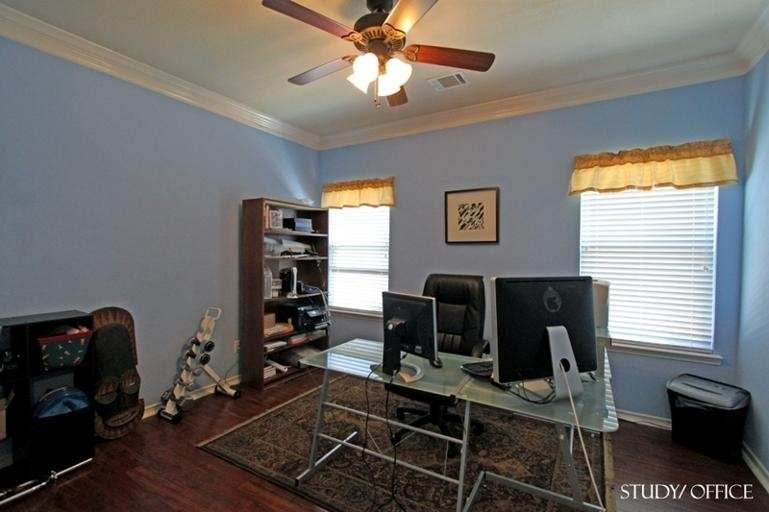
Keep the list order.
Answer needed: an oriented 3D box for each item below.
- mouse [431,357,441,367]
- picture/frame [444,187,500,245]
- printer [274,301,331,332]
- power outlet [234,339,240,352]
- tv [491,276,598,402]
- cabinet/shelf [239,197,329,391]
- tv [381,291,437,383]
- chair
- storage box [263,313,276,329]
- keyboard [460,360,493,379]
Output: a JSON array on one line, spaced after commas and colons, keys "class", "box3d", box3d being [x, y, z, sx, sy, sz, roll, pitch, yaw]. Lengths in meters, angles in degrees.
[{"class": "mouse", "box3d": [0.420, 0.860, 3.992, 0.068, 0.079, 0.119, 0, -11, -1]}, {"class": "picture/frame", "box3d": [0.978, -0.440, 5.540, 0.615, 0.626, 0.032, 0, 2, 26]}, {"class": "printer", "box3d": [-1.024, 0.732, 6.036, 0.484, 0.272, 0.361, -2, -4, 28]}, {"class": "power outlet", "box3d": [-1.674, 1.015, 5.586, 0.054, 0.138, 0.012, -2, 2, -34]}, {"class": "tv", "box3d": [1.173, 0.581, 3.573, 0.798, 0.851, 0.136, -1, 2, -12]}, {"class": "cabinet/shelf", "box3d": [-1.154, 0.417, 5.928, 0.421, 1.991, 1.220, 1, 1, 32]}, {"class": "tv", "box3d": [0.129, 0.632, 3.992, 0.295, 0.610, 0.615, -3, 5, -39]}, {"class": "chair", "box3d": [0.517, 0.965, 4.683, 0.932, 1.446, 0.907, 4, 7, 30]}, {"class": "storage box", "box3d": [-1.323, 0.739, 5.595, 0.126, 0.142, 0.232, -2, -4, 12]}, {"class": "keyboard", "box3d": [0.733, 0.898, 3.942, 0.242, 0.096, 0.257, 0, 1, 7]}]
